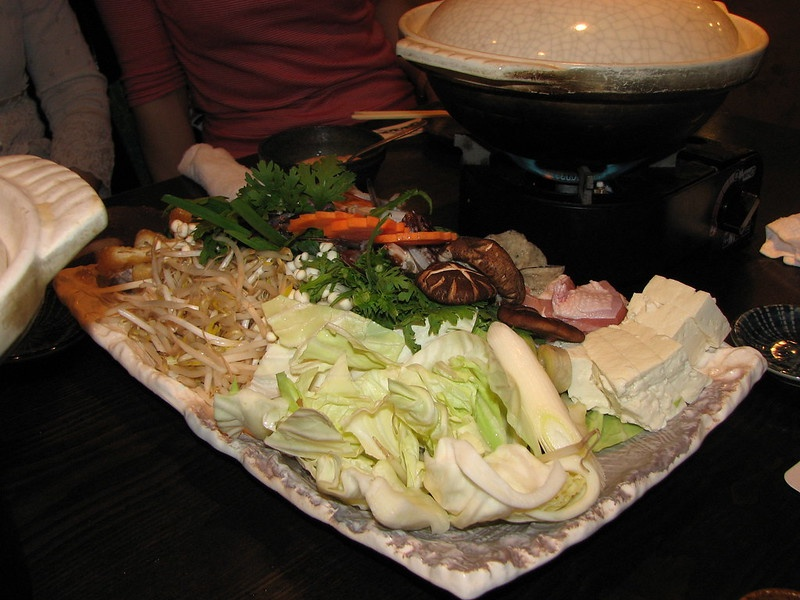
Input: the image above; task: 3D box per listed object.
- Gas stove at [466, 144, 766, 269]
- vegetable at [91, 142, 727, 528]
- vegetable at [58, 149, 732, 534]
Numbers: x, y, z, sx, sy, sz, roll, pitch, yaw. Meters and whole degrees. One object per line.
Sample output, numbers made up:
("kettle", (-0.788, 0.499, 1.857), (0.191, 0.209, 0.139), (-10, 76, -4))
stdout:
("Gas stove", (0.454, -0.208, 1.352), (0.443, 0.160, 0.437), (-28, 39, -36))
("vegetable", (-0.096, 0.088, 1.213), (1.032, 0.187, 0.753), (21, 45, 36))
("vegetable", (-0.078, 0.093, 1.167), (1.080, 0.203, 0.779), (24, 49, 37))
